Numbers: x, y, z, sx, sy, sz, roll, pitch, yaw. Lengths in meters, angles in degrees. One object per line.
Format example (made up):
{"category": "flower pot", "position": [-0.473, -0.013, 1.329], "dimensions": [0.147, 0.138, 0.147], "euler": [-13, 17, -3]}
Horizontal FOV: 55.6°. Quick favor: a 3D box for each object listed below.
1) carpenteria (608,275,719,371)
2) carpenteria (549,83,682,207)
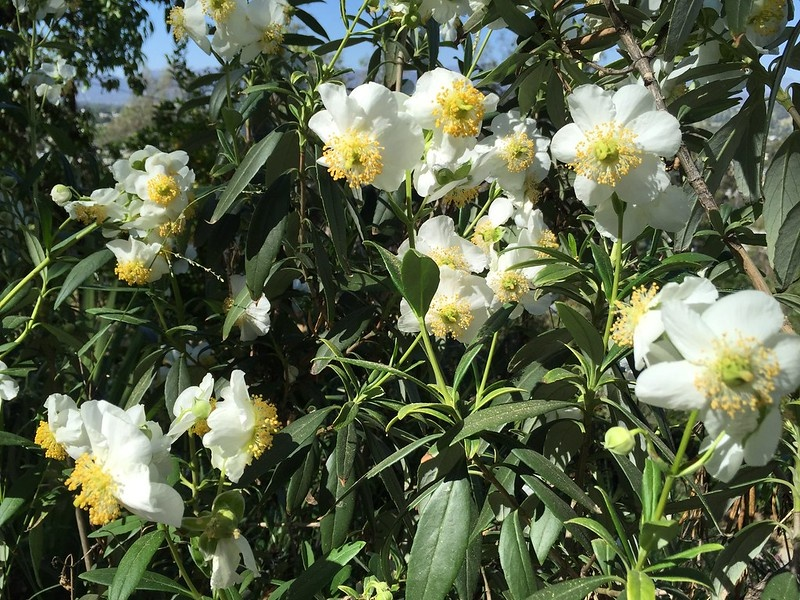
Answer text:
{"category": "carpenteria", "position": [0.452, 0.050, 1.281], "dimensions": [0.166, 0.070, 0.158], "euler": [-63, 5, -11]}
{"category": "carpenteria", "position": [0.391, -0.280, 1.372], "dimensions": [0.219, 0.219, 0.134], "euler": [-16, 31, 15]}
